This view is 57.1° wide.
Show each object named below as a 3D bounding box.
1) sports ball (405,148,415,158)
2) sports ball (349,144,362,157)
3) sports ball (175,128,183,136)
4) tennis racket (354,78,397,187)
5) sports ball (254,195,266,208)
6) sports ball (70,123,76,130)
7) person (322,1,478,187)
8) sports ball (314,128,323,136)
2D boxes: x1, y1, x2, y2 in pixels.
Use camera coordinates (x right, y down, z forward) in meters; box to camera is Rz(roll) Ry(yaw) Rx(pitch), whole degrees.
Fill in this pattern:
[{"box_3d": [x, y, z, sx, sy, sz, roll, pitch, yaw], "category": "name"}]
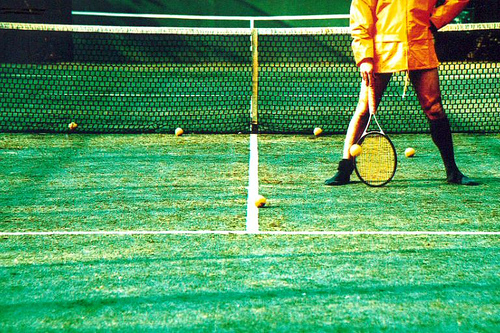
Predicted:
[{"box_3d": [1.932, -0.172, 5.537, 0.102, 0.095, 0.113, 27, -12, -23], "category": "sports ball"}, {"box_3d": [0.959, -0.150, 4.310, 0.117, 0.123, 0.110, -15, 5, 1], "category": "sports ball"}, {"box_3d": [-1.174, -0.559, 7.432, 0.114, 0.111, 0.108, 40, 30, -28], "category": "sports ball"}, {"box_3d": [1.186, -0.309, 4.295, 0.340, 1.004, 0.329, 9, 14, 32], "category": "tennis racket"}, {"box_3d": [0.074, 0.282, 3.772, 0.087, 0.082, 0.079, -6, 24, 3], "category": "sports ball"}, {"box_3d": [-3.003, -0.663, 7.662, 0.087, 0.102, 0.112, -3, 13, -19], "category": "sports ball"}, {"box_3d": [1.377, -0.654, 4.329, 1.289, 1.719, 0.375, 1, 12, -4], "category": "person"}, {"box_3d": [1.075, -0.543, 7.329, 0.113, 0.114, 0.140, 55, 19, 18], "category": "sports ball"}]
